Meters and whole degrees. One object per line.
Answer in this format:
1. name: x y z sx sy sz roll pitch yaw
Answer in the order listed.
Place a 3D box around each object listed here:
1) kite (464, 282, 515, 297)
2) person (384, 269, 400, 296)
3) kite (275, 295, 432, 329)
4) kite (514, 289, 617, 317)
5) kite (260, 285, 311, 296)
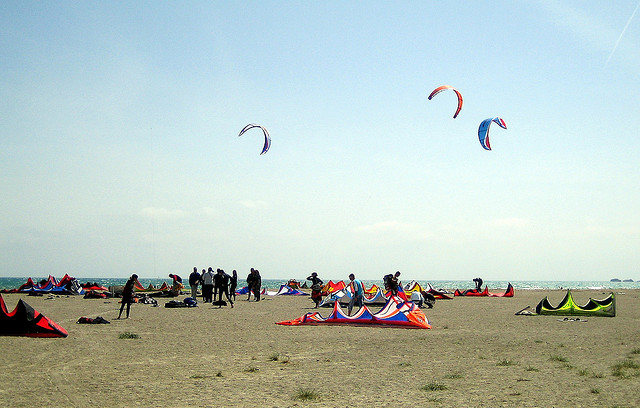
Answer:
1. kite: 13.267 6.744 55.945 3.799 0.992 4.299 0 -1 -2
2. person: 3.584 3.983 35.441 0.739 1.027 2.132 -1 -1 5
3. kite: 1.183 4.558 29.482 6.333 1.366 1.269 -1 4 8
4. kite: 12.123 4.746 33.970 3.959 1.183 2.816 -1 -1 27
5. kite: -3.027 6.713 54.210 3.775 0.594 4.173 0 -1 -26
